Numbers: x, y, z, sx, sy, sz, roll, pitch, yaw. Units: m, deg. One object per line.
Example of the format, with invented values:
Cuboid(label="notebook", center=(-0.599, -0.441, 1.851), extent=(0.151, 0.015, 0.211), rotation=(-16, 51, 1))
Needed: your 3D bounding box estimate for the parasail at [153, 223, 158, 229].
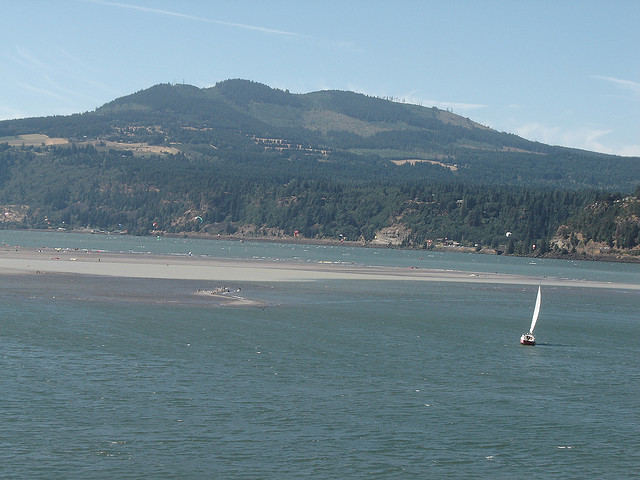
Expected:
Cuboid(label="parasail", center=(-65.465, -5.576, 554.587), extent=(1.855, 2.153, 3.956), rotation=(5, 0, -7))

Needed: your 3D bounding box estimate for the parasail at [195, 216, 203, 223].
Cuboid(label="parasail", center=(-47.288, -7.982, 549.006), extent=(2.696, 2.456, 7.015), rotation=(5, 0, -5))

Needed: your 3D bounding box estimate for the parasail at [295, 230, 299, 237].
Cuboid(label="parasail", center=(-8.415, -2.262, 529.441), extent=(2.631, 2.299, 0.678), rotation=(0, 0, -28))
